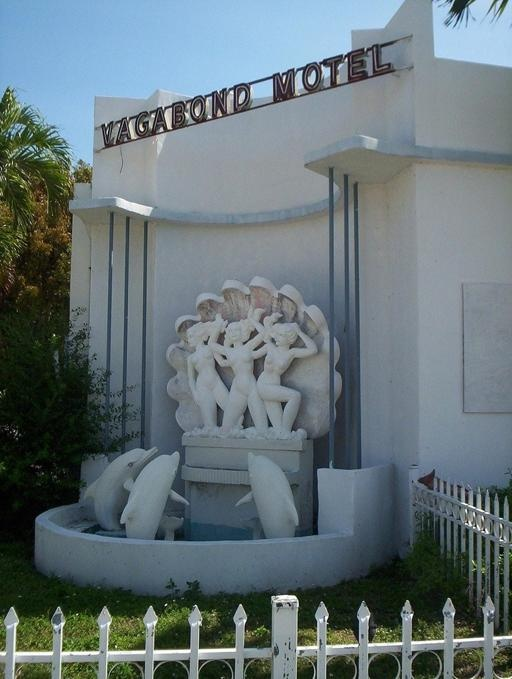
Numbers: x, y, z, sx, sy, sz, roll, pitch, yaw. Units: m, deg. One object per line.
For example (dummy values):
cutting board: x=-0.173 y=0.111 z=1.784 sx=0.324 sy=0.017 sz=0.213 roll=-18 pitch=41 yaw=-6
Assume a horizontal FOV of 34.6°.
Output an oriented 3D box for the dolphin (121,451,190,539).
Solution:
dolphin: x=-1.057 y=1.598 z=8.149 sx=0.500 sy=0.872 sz=0.584 roll=2 pitch=2 yaw=-32

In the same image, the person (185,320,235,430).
person: x=-0.594 y=0.377 z=10.318 sx=0.418 sy=1.492 sz=0.340 roll=-1 pitch=0 yaw=40
